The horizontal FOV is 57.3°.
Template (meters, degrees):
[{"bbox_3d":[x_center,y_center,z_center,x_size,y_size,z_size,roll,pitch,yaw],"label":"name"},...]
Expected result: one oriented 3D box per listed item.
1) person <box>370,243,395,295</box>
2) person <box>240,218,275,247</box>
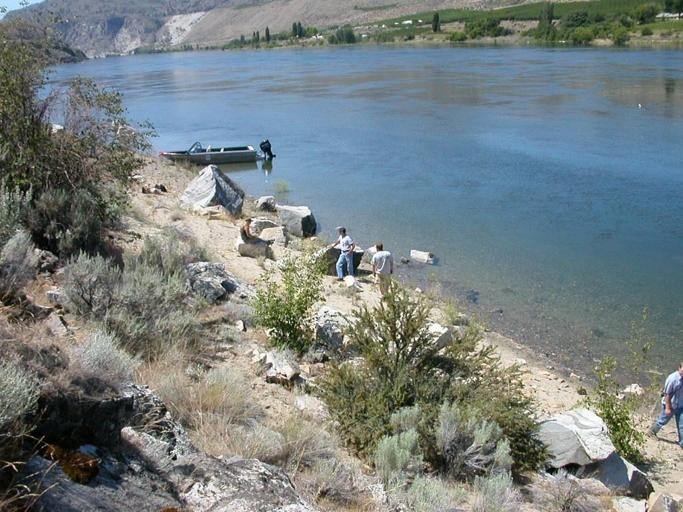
[{"bbox_3d":[1.396,0.420,20.926,0.645,1.996,0.469,-6,28,1],"label":"person"},{"bbox_3d":[-2.948,-0.817,22.097,1.354,1.222,0.728,-4,22,-17],"label":"person"}]
